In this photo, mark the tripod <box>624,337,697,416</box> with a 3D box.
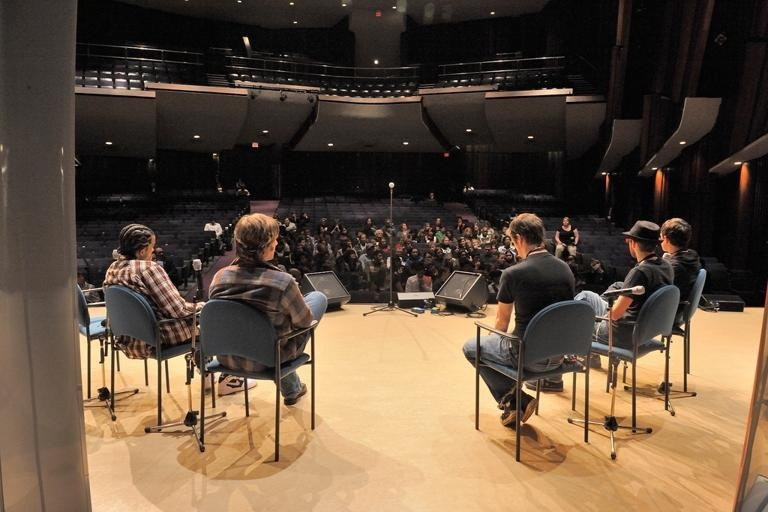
[{"bbox_3d":[2.192,0.982,4.149,0.553,0.735,0.494,7,-10,-35],"label":"tripod"}]

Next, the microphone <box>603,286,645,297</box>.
[{"bbox_3d":[1.572,0.232,3.392,0.068,0.066,0.328,-8,-1,-23],"label":"microphone"}]

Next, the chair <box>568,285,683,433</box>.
[{"bbox_3d":[1.623,0.700,3.632,0.799,1.044,0.729,20,-9,-41],"label":"chair"}]

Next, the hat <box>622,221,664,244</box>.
[{"bbox_3d":[1.891,-0.181,3.855,0.183,0.080,0.208,9,10,-4],"label":"hat"}]

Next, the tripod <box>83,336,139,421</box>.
[{"bbox_3d":[-2.089,0.962,4.010,0.531,0.611,0.478,0,18,-31],"label":"tripod"}]

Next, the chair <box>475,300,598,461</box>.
[{"bbox_3d":[1.000,0.777,3.542,0.592,0.964,0.638,-1,5,-21],"label":"chair"}]

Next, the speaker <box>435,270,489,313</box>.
[{"bbox_3d":[0.976,0.406,6.558,0.537,0.524,0.562,-27,10,-29],"label":"speaker"}]

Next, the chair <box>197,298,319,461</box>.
[{"bbox_3d":[-0.832,0.759,3.506,0.790,0.961,0.796,-3,4,-40],"label":"chair"}]

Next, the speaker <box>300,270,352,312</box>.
[{"bbox_3d":[-0.708,0.434,6.576,0.495,0.474,0.500,1,0,44],"label":"speaker"}]

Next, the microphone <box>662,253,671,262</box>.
[{"bbox_3d":[2.305,0.015,4.246,0.073,0.036,0.100,6,10,30],"label":"microphone"}]

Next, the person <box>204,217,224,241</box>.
[{"bbox_3d":[-3.804,-0.564,11.787,0.522,0.390,0.748,-3,35,-23],"label":"person"}]

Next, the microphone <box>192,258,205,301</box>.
[{"bbox_3d":[-2.015,0.284,5.663,0.158,0.141,0.670,-8,-34,-20],"label":"microphone"}]
